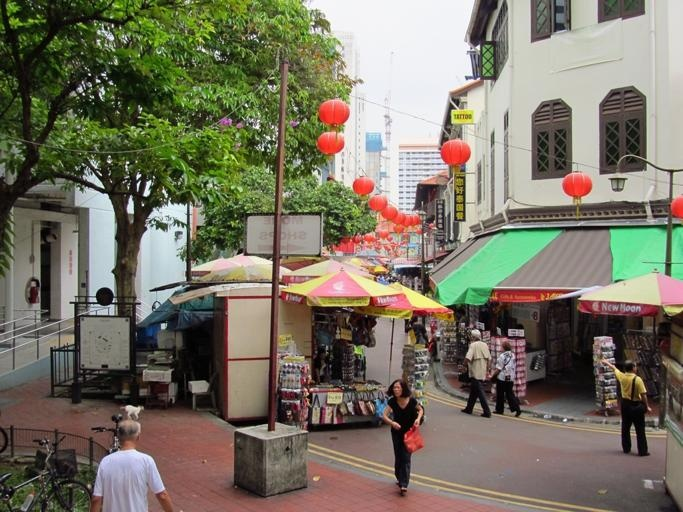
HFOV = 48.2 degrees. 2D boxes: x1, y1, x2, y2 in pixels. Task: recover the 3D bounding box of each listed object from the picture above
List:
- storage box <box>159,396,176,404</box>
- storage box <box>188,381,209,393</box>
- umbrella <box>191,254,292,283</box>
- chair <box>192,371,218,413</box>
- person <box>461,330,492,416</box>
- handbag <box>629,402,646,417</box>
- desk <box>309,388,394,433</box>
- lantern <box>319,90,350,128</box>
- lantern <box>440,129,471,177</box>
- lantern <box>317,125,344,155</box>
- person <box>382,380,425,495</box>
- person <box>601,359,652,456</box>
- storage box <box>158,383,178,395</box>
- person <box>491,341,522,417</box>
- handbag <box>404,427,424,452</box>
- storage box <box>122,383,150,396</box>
[{"bbox_3d":[-4.746,3.896,20.645,0.251,0.171,0.257,1,-5,-7],"label":"storage box"},{"bbox_3d":[-3.756,3.466,20.182,0.373,0.247,0.384,0,1,-7],"label":"storage box"},{"bbox_3d":[-3.402,0.343,25.124,1.705,0.909,3.505,3,-5,-38],"label":"umbrella"},{"bbox_3d":[-3.662,3.631,20.186,0.846,1.234,0.894,2,-5,-11],"label":"chair"},{"bbox_3d":[3.754,3.238,21.242,0.759,2.342,1.236,0,-3,9],"label":"person"},{"bbox_3d":[6.608,3.427,17.018,0.298,0.247,0.324,3,-31,21],"label":"handbag"},{"bbox_3d":[0.062,3.740,19.060,2.833,0.879,1.418,2,-3,-21],"label":"desk"},{"bbox_3d":[-0.154,-3.615,18.771,0.720,0.797,0.756,0,0,32],"label":"lantern"},{"bbox_3d":[3.434,-2.948,21.572,1.014,1.376,1.027,2,-5,-17],"label":"lantern"},{"bbox_3d":[-0.241,-2.970,19.446,0.676,0.832,0.717,-3,-2,30],"label":"lantern"},{"bbox_3d":[1.197,3.570,15.064,0.740,2.204,0.557,0,-3,7],"label":"person"},{"bbox_3d":[6.547,3.433,17.233,0.688,2.140,0.732,-1,-4,22],"label":"person"},{"bbox_3d":[-4.718,3.589,20.598,0.339,0.191,0.185,6,-29,-34],"label":"storage box"},{"bbox_3d":[4.560,3.374,21.146,0.710,2.042,0.765,1,-3,-4],"label":"person"},{"bbox_3d":[1.392,3.589,14.880,0.339,0.497,0.169,2,-3,-18],"label":"handbag"},{"bbox_3d":[-5.631,3.663,20.889,1.305,0.347,0.431,-3,-5,42],"label":"storage box"}]
